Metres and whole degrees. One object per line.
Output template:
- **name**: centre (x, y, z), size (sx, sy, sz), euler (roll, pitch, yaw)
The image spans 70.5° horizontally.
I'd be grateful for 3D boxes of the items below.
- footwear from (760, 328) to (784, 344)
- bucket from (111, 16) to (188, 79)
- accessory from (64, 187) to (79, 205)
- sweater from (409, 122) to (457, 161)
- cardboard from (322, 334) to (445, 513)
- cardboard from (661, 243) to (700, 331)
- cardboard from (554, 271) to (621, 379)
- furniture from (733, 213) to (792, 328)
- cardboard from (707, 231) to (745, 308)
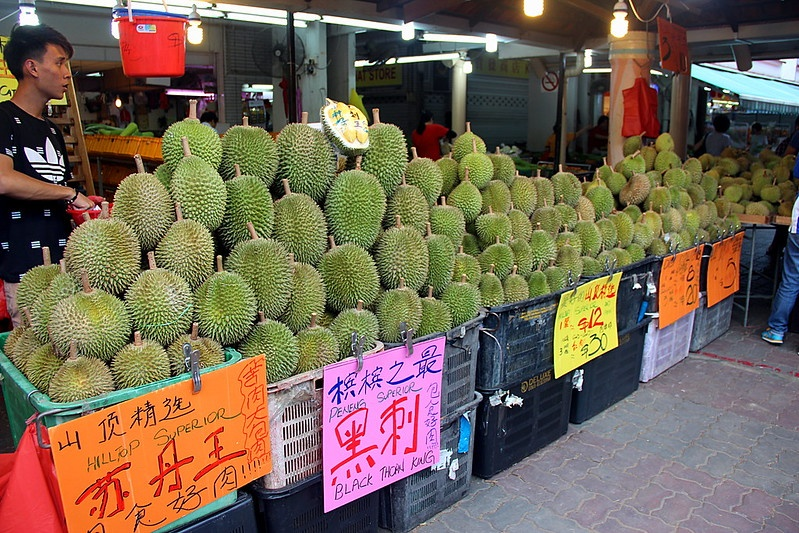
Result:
- **footwear**: centre (3.629, 0.665, 5.539), size (0.101, 0.110, 0.243), euler (-5, 10, -4)
- **bucket**: centre (-1.911, -1.662, 4.330), size (0.571, 0.428, 0.566), euler (1, 13, 0)
- **accessory**: centre (-1.874, -0.399, 3.253), size (0.033, 0.082, 0.078), euler (34, -4, -23)
- **sweater**: centre (0.515, -2.036, 9.359), size (0.734, 0.677, 0.448), euler (0, 28, 23)
- **cardboard**: centre (-0.062, 0.778, 2.898), size (0.819, 0.701, 0.008), euler (-4, 8, -44)
- **cardboard**: centre (2.314, 0.167, 4.706), size (0.282, 0.722, 0.469), euler (9, 6, 38)
- **cardboard**: centre (1.269, 0.372, 3.874), size (0.034, 0.502, 0.733), euler (9, 17, 43)
- **furniture**: centre (4.056, 0.073, 6.338), size (0.826, 1.095, 1.170), euler (5, 9, 37)
- **cardboard**: centre (3.214, -0.009, 5.530), size (0.889, 0.619, 0.022), euler (-13, 12, -41)
